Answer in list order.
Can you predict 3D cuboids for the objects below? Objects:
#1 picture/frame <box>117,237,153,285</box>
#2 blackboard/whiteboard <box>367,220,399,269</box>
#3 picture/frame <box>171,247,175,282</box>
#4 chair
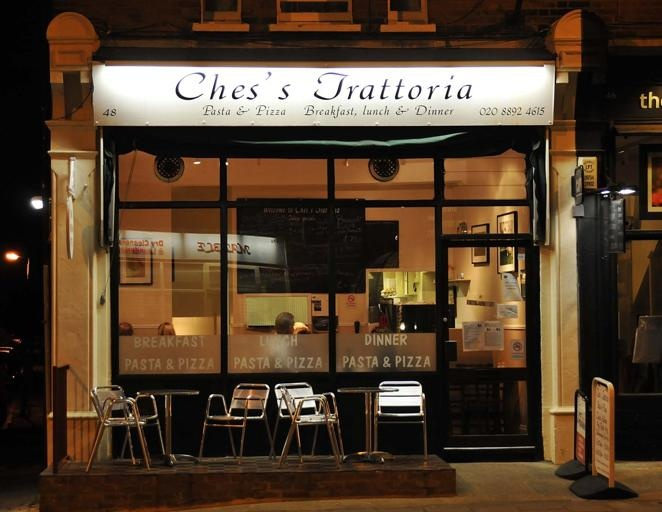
[{"bbox_3d":[-2.814,0.090,16.552,0.459,0.645,0.044,0,-2,-3],"label":"picture/frame"},{"bbox_3d":[0.763,-0.129,16.735,0.661,0.942,0.092,0,0,1],"label":"blackboard/whiteboard"},{"bbox_3d":[-2.283,0.137,16.599,0.069,0.478,0.023,0,-2,-8],"label":"picture/frame"},{"bbox_3d":[-0.788,2.300,15.891,4.281,1.080,1.867,0,-2,5],"label":"chair"}]
